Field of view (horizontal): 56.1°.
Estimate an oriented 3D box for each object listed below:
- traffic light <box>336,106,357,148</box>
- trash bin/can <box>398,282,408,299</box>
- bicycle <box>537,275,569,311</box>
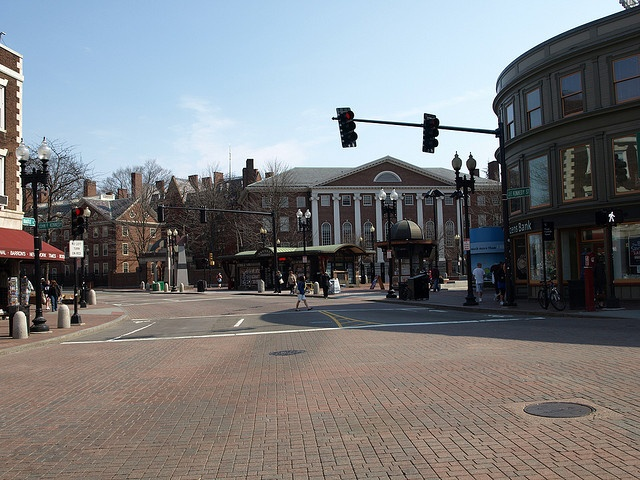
[{"bbox_3d":[0.914,-3.700,19.907,0.562,0.865,0.974,-2,1,3],"label":"traffic light"},{"bbox_3d":[4.496,2.701,32.084,0.416,0.839,0.667,-2,1,7],"label":"trash bin/can"},{"bbox_3d":[8.948,2.119,23.475,0.816,1.156,1.836,-12,2,-11],"label":"bicycle"}]
